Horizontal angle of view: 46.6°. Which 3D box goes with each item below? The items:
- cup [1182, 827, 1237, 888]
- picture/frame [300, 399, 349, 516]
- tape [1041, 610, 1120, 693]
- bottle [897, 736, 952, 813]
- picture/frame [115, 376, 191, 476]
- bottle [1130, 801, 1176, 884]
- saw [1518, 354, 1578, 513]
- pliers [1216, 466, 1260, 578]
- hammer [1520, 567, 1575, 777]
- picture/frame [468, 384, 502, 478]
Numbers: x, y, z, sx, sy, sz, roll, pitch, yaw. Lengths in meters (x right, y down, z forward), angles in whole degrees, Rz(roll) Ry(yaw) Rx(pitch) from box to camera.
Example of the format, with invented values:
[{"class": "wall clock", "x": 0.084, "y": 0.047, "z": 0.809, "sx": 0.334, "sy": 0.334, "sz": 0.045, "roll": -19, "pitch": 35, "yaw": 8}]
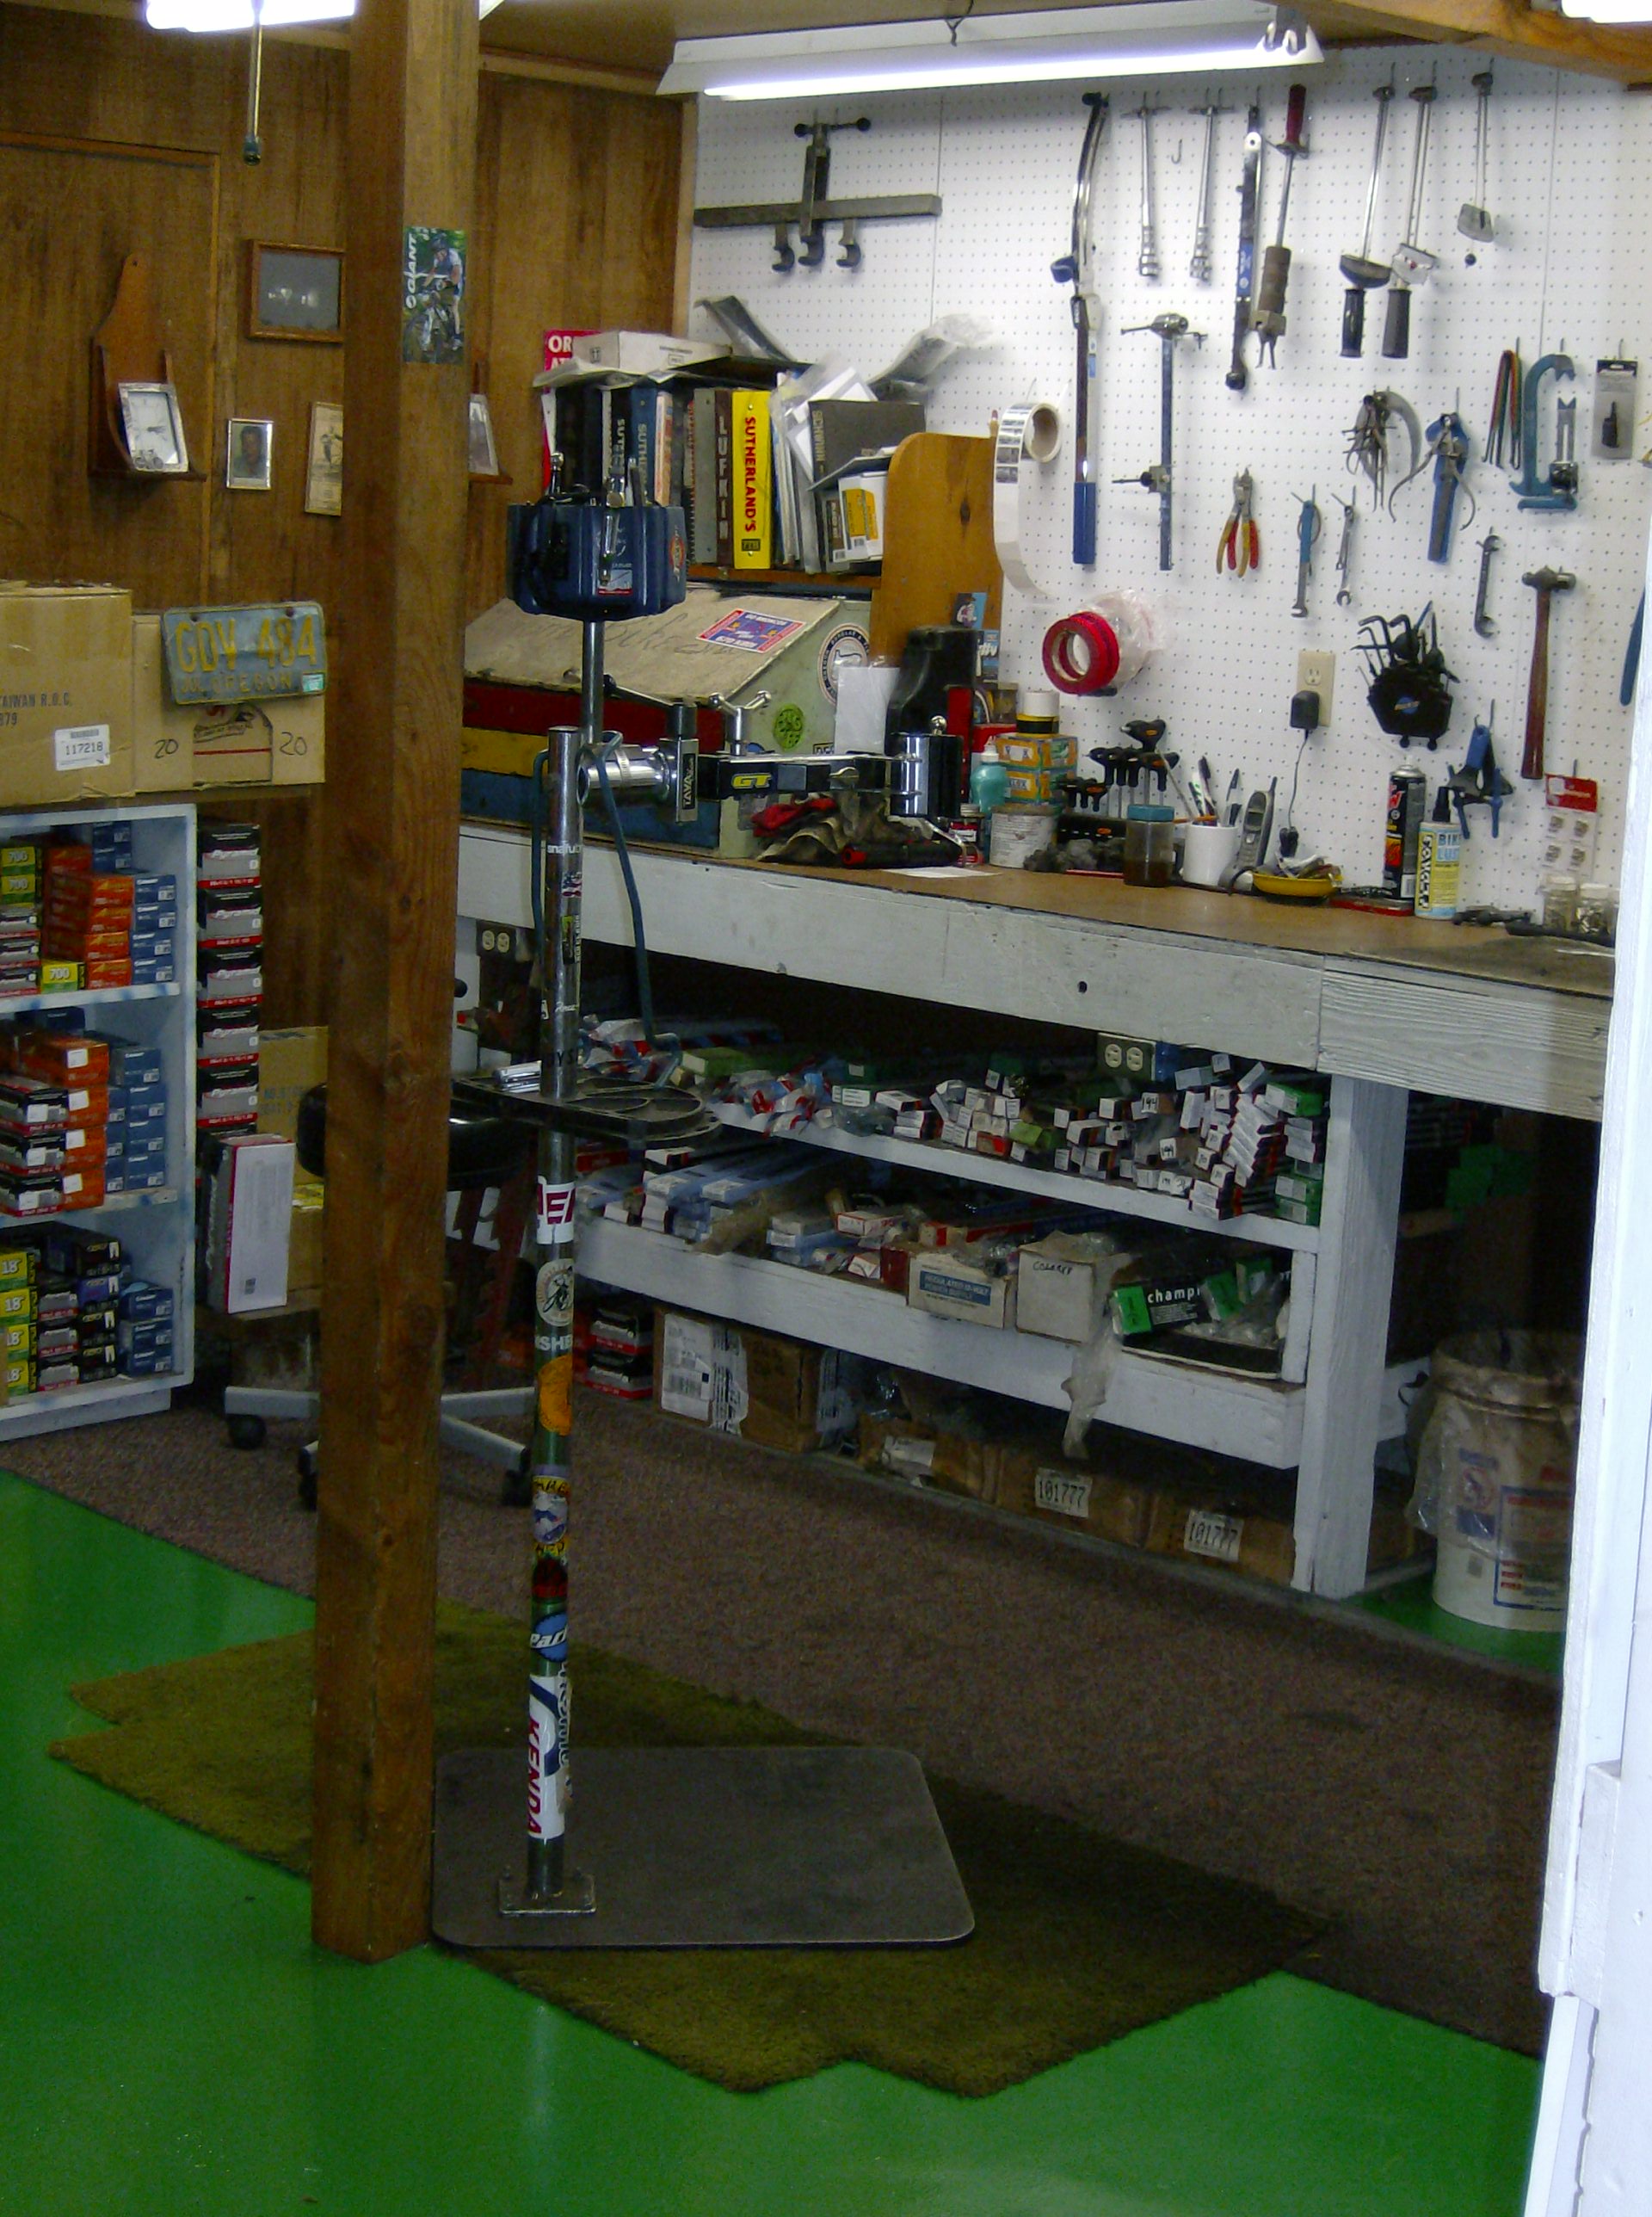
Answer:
[{"class": "cup", "x": 0.878, "y": -0.586, "z": 4.408, "sx": 0.111, "sy": 0.124, "sz": 0.139, "roll": -3, "pitch": 7, "yaw": -22}, {"class": "picture/frame", "x": -1.313, "y": -1.718, "z": 5.063, "sx": 0.084, "sy": 0.293, "sz": 0.067, "roll": 4, "pitch": 8, "yaw": 3}, {"class": "tape", "x": 0.621, "y": -1.107, "z": 4.631, "sx": 0.050, "sy": 0.165, "sz": 0.165, "roll": -19, "pitch": 37, "yaw": -40}, {"class": "bottle", "x": 0.122, "y": -0.419, "z": 2.389, "sx": 0.074, "sy": 0.100, "sz": 0.045, "roll": 3, "pitch": 8, "yaw": 0}, {"class": "picture/frame", "x": -1.634, "y": -1.663, "z": 4.663, "sx": 0.027, "sy": 0.274, "sz": 0.230, "roll": 2, "pitch": 17, "yaw": 35}, {"class": "bottle", "x": 0.741, "y": -0.603, "z": 4.387, "sx": 0.102, "sy": 0.177, "sz": 0.176, "roll": 0, "pitch": -1, "yaw": 3}, {"class": "saw", "x": 1.496, "y": -1.405, "z": 3.974, "sx": 0.126, "sy": 0.314, "sz": 0.050, "roll": 6, "pitch": 9, "yaw": 19}, {"class": "pliers", "x": 0.948, "y": -1.349, "z": 4.409, "sx": 0.108, "sy": 0.231, "sz": 0.056, "roll": 7, "pitch": 9, "yaw": 26}, {"class": "hammer", "x": 1.474, "y": -0.913, "z": 4.026, "sx": 0.141, "sy": 0.425, "sz": 0.059, "roll": -5, "pitch": 14, "yaw": -17}, {"class": "picture/frame", "x": -0.934, "y": -1.876, "z": 5.310, "sx": 0.071, "sy": 0.230, "sz": 0.225, "roll": 2, "pitch": 9, "yaw": -10}]
